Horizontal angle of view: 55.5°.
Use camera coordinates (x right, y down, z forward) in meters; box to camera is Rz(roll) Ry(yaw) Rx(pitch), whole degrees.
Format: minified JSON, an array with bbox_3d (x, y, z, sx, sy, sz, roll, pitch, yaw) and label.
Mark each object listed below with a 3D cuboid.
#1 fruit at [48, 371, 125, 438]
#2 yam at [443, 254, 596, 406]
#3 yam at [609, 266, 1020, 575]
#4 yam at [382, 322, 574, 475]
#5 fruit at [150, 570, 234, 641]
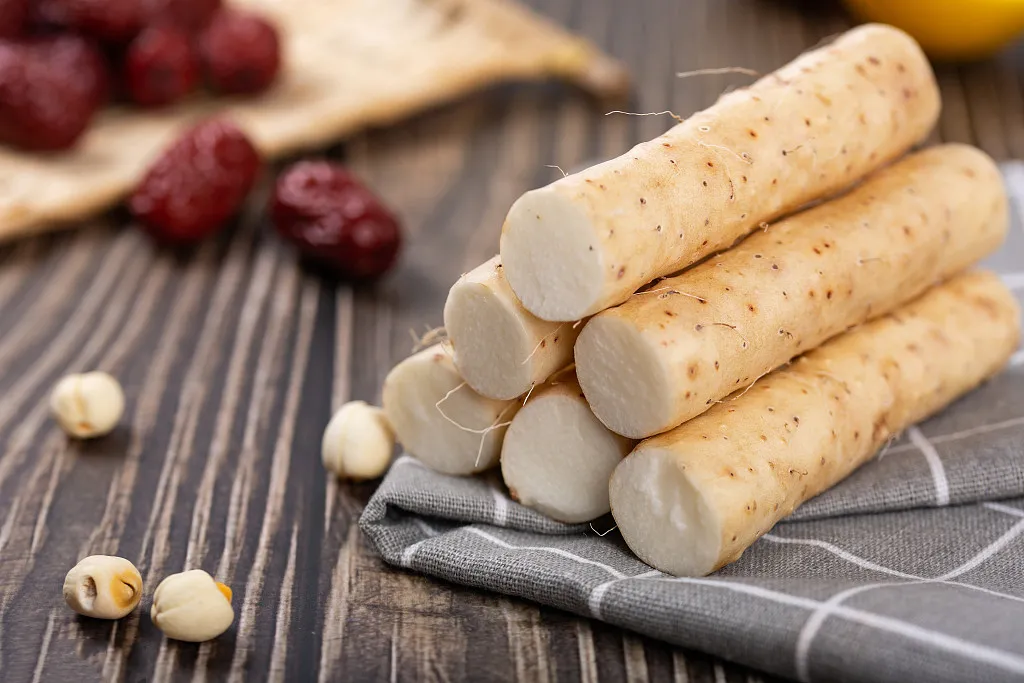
[{"bbox_3d":[-0.491,0.073,1.120,0.074,0.073,0.077,-13,94,-8],"label":"fruit"},{"bbox_3d":[0.017,-0.024,1.034,0.106,0.119,0.152,12,25,29],"label":"yam"},{"bbox_3d":[0.374,0.064,1.157,0.656,0.214,0.187,-28,42,-31],"label":"yam"},{"bbox_3d":[-0.007,0.033,1.169,0.246,0.349,0.122,-10,98,15],"label":"yam"},{"bbox_3d":[-0.296,0.246,0.896,0.066,0.054,0.056,-14,42,-29],"label":"fruit"}]
